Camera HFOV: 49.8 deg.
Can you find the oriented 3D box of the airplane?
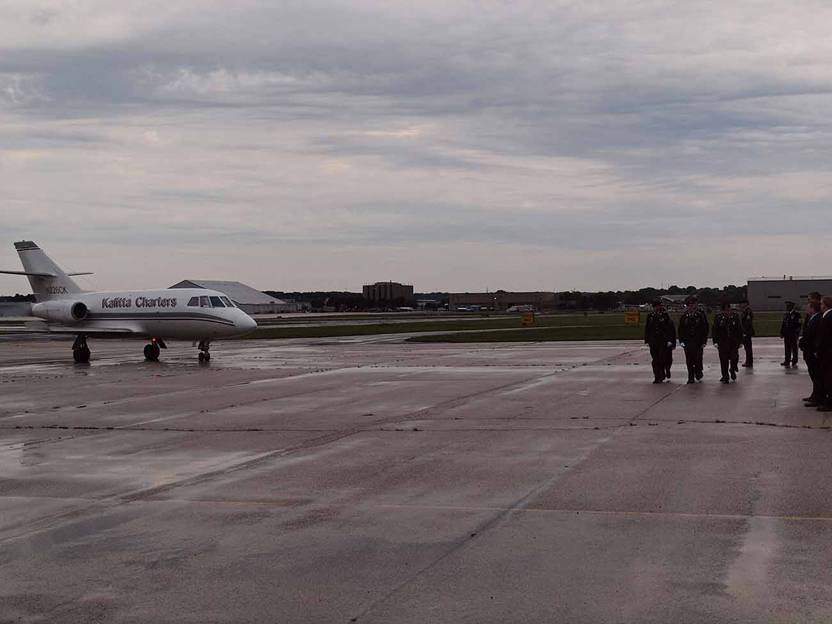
[{"bbox_3d":[-11.420,0.087,36.760,9.939,3.327,9.511,-2,-1,29],"label":"airplane"}]
